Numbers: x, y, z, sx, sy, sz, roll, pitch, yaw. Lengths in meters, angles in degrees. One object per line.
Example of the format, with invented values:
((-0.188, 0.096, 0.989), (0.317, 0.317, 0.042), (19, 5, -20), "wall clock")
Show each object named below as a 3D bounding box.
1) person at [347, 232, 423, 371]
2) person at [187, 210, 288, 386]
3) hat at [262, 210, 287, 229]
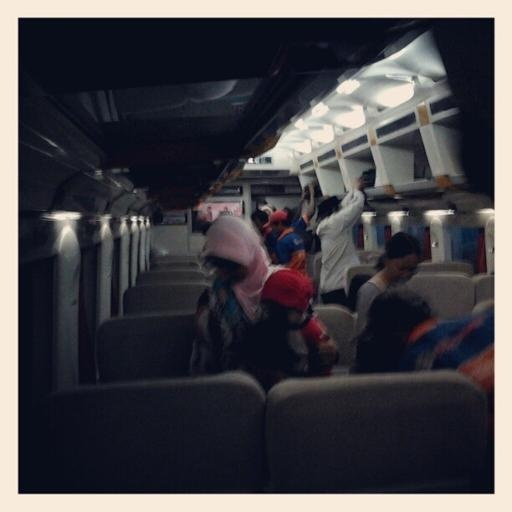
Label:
((0.635, 0.218, 2.099), (0.240, 0.785, 0.206), (-18, 42, -19), "person")
((-0.067, 0.275, 1.973), (0.561, 0.938, 0.351), (-8, 20, -9), "person")
((0.084, -0.163, 1.858), (0.082, 0.047, 0.055), (-18, 10, -10), "hat")
